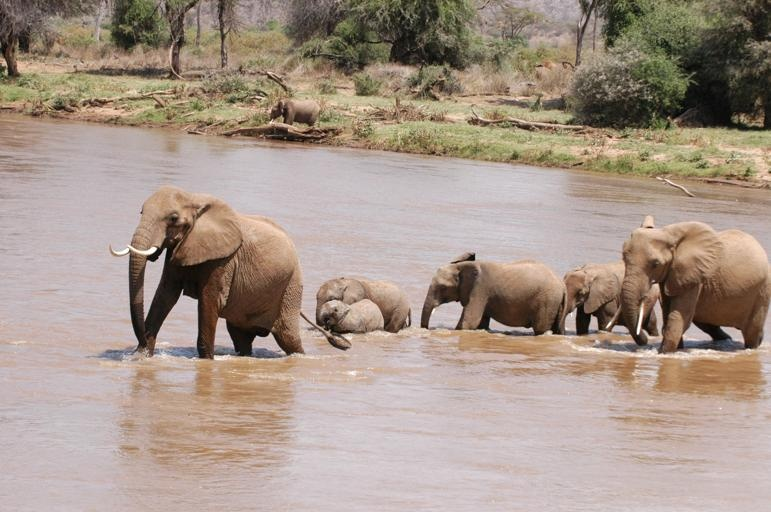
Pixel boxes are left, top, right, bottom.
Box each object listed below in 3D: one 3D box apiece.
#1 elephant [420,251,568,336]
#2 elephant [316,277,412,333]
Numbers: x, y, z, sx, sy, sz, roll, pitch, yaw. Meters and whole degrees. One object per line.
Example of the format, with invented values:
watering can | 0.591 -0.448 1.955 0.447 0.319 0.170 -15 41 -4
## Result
elephant | 1.990 0.799 22.520 2.762 1.392 1.000 2 4 2
elephant | -0.403 0.938 22.370 1.985 0.980 0.732 0 17 1
